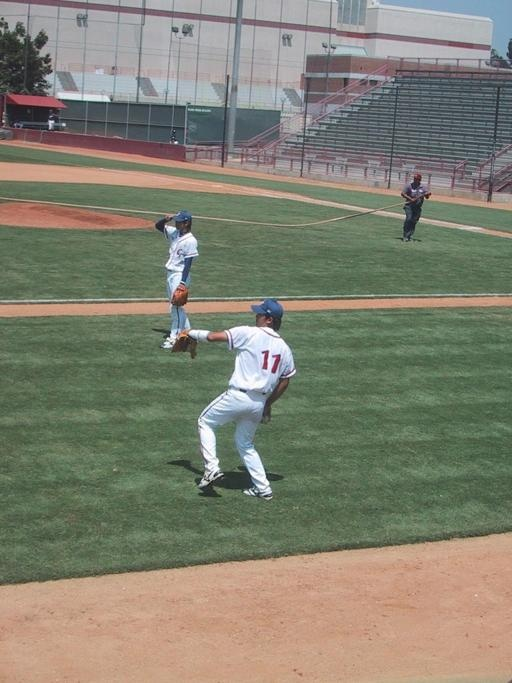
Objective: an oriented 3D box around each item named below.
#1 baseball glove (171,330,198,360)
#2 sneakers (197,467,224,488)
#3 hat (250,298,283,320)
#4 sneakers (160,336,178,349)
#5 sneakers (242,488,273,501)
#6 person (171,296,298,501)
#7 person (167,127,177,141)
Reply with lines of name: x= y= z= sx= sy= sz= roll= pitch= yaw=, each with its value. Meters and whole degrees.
baseball glove: x=-0.499 y=-0.007 z=8.458 sx=0.223 sy=0.071 sz=0.257 roll=25 pitch=-35 yaw=5
sneakers: x=-0.323 y=1.050 z=8.343 sx=0.121 sy=0.101 sz=0.282 roll=43 pitch=-32 yaw=-3
hat: x=0.085 y=-0.241 z=8.170 sx=0.218 sy=0.132 sz=0.239 roll=5 pitch=6 yaw=-2
sneakers: x=-0.969 y=0.025 z=12.474 sx=0.238 sy=0.100 sz=0.338 roll=1 pitch=-21 yaw=-6
sneakers: x=0.022 y=1.185 z=8.465 sx=0.242 sy=0.085 sz=0.084 roll=7 pitch=8 yaw=24
person: x=-0.151 y=0.445 z=8.266 sx=0.821 sy=1.552 sz=0.512 roll=7 pitch=7 yaw=1
person: x=-4.089 y=-10.428 z=55.751 sx=0.215 sy=0.704 sz=0.659 roll=1 pitch=8 yaw=-39
